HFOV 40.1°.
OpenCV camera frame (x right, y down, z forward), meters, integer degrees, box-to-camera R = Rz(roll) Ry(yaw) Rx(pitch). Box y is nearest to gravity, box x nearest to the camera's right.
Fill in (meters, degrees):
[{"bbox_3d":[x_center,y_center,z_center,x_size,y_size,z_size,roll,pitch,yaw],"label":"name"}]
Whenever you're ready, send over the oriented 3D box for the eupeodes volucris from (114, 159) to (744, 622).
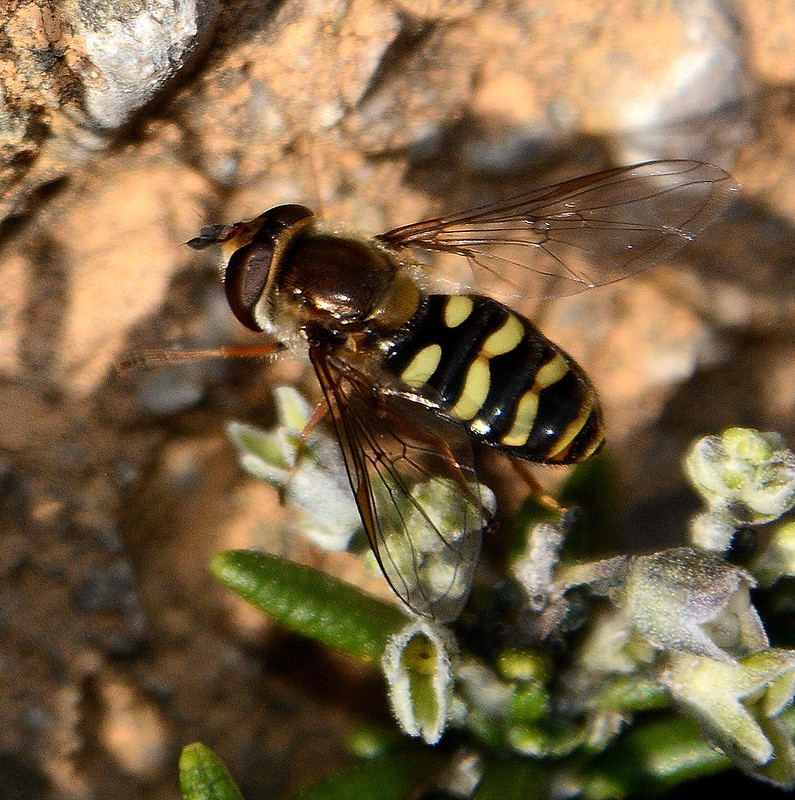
[{"bbox_3d":[-0.123,-0.015,1.944,0.895,0.261,0.860,24,71,-3],"label":"eupeodes volucris"}]
